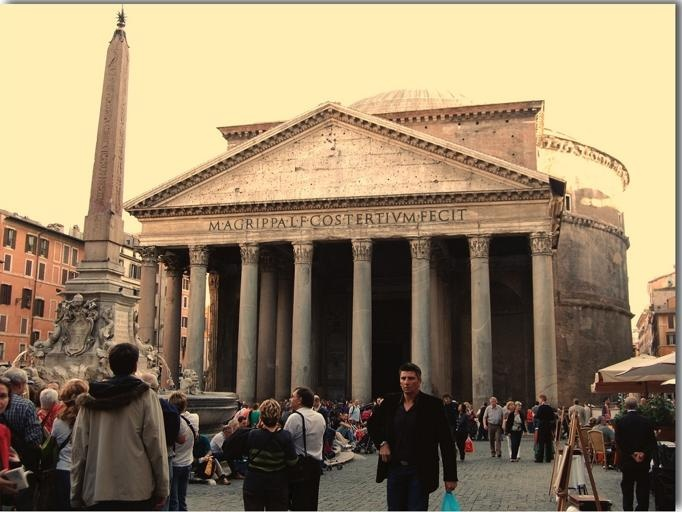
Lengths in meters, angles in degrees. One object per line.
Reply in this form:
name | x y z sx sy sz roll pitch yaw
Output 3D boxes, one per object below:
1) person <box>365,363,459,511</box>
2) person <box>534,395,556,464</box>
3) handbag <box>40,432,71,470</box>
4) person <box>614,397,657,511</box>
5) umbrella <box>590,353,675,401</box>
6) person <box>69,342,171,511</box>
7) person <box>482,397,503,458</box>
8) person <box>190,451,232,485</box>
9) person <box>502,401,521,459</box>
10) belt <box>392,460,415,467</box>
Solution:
person | 0.781 2.002 7.541 0.961 1.596 0.580 -1 -11 7
person | 5.696 4.964 19.031 0.543 1.606 2.183 -3 -12 16
handbag | -3.278 2.253 7.732 0.386 0.386 0.252 1 -18 -14
person | 4.961 3.325 11.382 0.599 1.871 1.583 -5 -12 24
umbrella | 7.632 3.135 17.673 2.361 0.887 2.428 -14 -20 12
person | -2.137 1.649 6.615 0.939 1.588 0.364 2 -11 -10
person | 4.690 5.230 20.771 0.623 1.812 0.612 -4 -10 17
person | -2.667 4.320 13.869 0.578 0.329 0.749 19 -19 -26
person | 5.114 5.165 20.127 0.480 1.641 1.966 -2 -12 14
belt | 0.695 2.279 7.468 0.203 0.071 0.025 -6 -12 28
